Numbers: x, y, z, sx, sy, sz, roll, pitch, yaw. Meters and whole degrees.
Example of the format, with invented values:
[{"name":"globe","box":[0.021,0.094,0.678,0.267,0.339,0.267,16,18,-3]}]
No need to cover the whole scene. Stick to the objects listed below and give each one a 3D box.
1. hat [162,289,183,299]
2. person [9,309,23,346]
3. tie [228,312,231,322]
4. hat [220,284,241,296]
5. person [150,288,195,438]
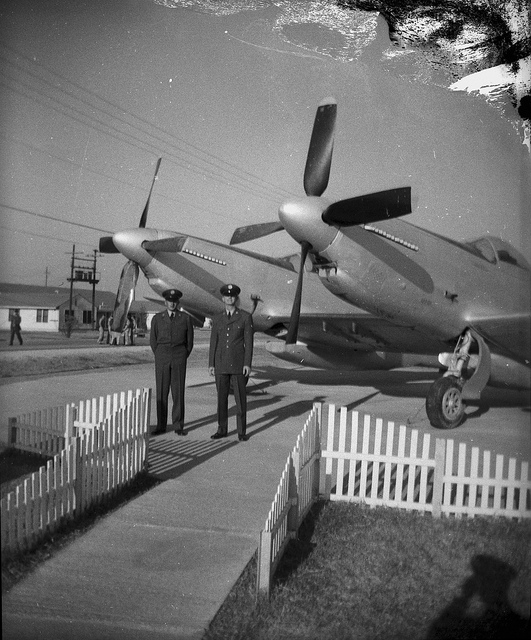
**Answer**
[{"name":"hat","box":[-1.104,-0.304,6.833,0.190,0.115,0.330,1,1,-8]},{"name":"person","box":[-8.943,0.297,20.697,0.404,1.204,3.377,1,1,-23]},{"name":"tie","box":[-0.388,-0.030,6.166,0.025,0.094,0.025,2,-29,-1]},{"name":"hat","box":[-0.387,-0.327,6.273,0.180,0.122,0.260,1,1,-14]},{"name":"person","box":[-1.049,0.453,6.412,0.457,1.560,0.706,1,1,-8]}]
